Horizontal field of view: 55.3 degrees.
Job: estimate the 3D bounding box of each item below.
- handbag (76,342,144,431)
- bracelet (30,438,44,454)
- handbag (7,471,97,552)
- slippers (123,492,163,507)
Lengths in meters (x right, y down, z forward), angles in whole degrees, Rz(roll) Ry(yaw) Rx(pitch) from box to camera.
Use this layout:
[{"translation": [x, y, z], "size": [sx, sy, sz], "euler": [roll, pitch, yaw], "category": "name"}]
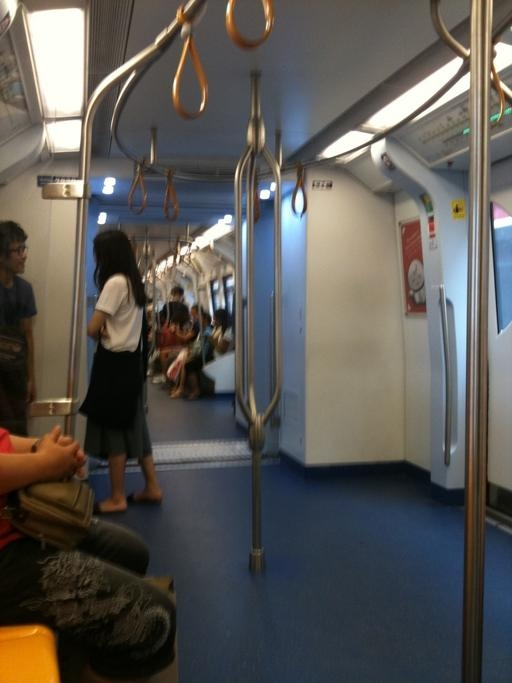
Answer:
[{"translation": [-0.904, 0.390, 2.977], "size": [0.391, 0.337, 0.573], "euler": [26, 14, -28], "category": "handbag"}, {"translation": [-0.494, 0.236, 1.092], "size": [0.009, 0.029, 0.019], "euler": [21, 2, -18], "category": "bracelet"}, {"translation": [-0.422, 0.328, 1.021], "size": [0.141, 0.103, 0.138], "euler": [15, 26, -6], "category": "handbag"}, {"translation": [-0.754, 1.026, 3.236], "size": [0.239, 0.151, 0.095], "euler": [-7, -7, 22], "category": "slippers"}]
